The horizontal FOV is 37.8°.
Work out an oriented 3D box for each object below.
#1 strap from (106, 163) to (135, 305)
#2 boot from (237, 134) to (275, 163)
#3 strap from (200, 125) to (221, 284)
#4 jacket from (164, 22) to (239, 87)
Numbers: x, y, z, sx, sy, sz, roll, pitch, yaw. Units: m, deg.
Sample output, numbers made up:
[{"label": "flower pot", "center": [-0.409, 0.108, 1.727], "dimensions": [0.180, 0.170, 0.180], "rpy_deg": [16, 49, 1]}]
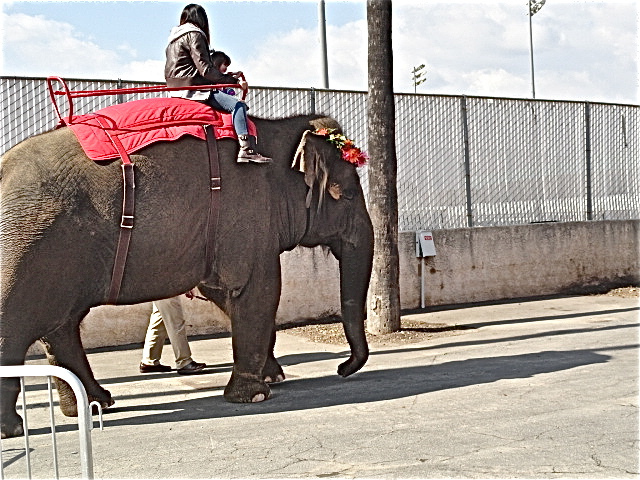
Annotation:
[{"label": "strap", "center": [-1.926, -0.062, 9.118], "dimensions": [0.334, 1.365, 0.201], "rpy_deg": [-3, 6, -12]}, {"label": "boot", "center": [-0.664, -0.972, 9.854], "dimensions": [0.447, 0.303, 0.198], "rpy_deg": [-6, 10, -27]}, {"label": "strap", "center": [-1.113, -0.392, 9.568], "dimensions": [0.259, 1.196, 0.289], "rpy_deg": [-15, 21, -42]}, {"label": "jacket", "center": [-1.286, -1.950, 9.791], "dimensions": [0.783, 0.680, 0.323], "rpy_deg": [2, 7, 29]}]
